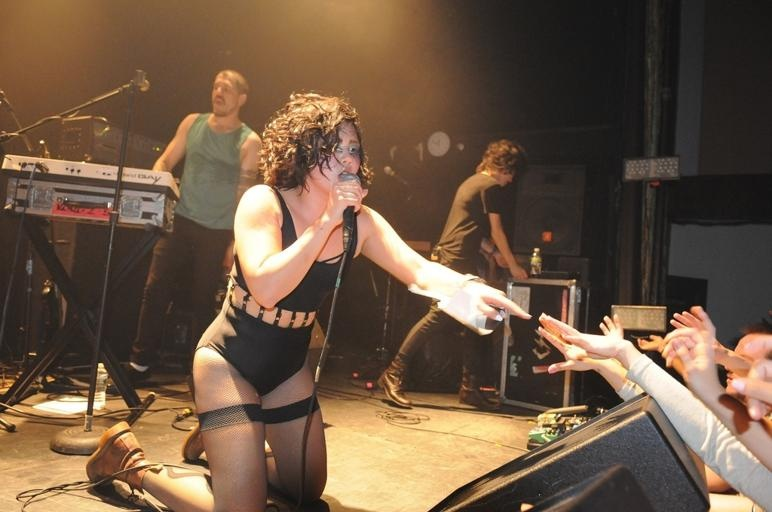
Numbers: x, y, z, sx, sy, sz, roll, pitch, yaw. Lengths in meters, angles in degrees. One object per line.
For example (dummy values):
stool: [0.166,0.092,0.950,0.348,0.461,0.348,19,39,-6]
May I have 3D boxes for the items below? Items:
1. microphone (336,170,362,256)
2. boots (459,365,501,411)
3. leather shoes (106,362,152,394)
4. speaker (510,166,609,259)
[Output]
microphone: [-0.207,-0.219,3.229,0.135,0.500,0.120,-2,-13,28]
boots: [0.830,1.143,5.336,0.400,0.377,0.182,3,-8,35]
leather shoes: [-1.993,0.951,4.909,0.294,0.256,0.299,-3,-3,11]
speaker: [1.939,-0.518,7.192,1.016,1.108,0.349,5,0,16]
